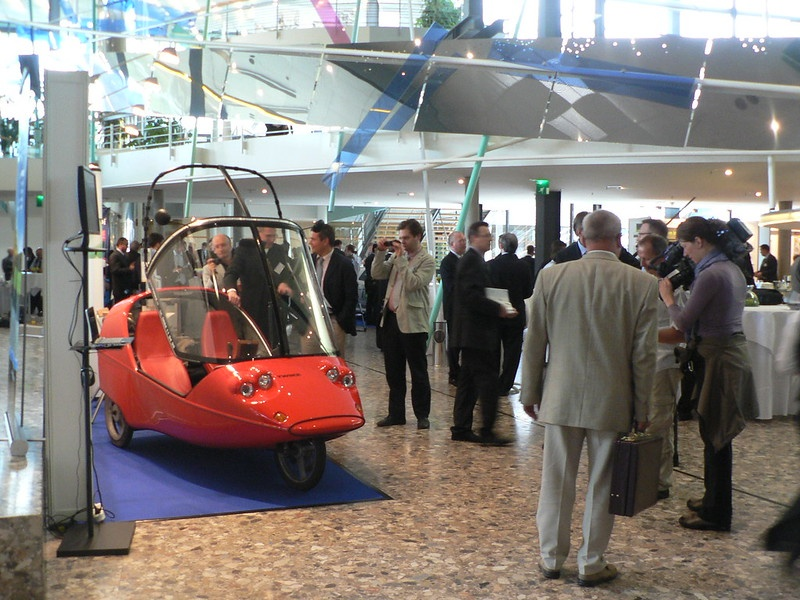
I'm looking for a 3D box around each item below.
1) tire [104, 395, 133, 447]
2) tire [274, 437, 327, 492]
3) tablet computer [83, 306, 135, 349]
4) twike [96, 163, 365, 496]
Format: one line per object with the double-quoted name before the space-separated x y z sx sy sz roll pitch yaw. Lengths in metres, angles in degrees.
"tire" -2.262 0.972 5.127 0.093 0.452 0.436 -9 -2 -33
"tire" -0.665 1.106 4.339 0.319 0.320 0.073 -7 -8 21
"tablet computer" -1.586 0.158 3.477 0.297 0.167 0.290 10 7 40
"twike" -1.418 0.196 5.085 1.373 2.139 2.917 -3 7 -39
